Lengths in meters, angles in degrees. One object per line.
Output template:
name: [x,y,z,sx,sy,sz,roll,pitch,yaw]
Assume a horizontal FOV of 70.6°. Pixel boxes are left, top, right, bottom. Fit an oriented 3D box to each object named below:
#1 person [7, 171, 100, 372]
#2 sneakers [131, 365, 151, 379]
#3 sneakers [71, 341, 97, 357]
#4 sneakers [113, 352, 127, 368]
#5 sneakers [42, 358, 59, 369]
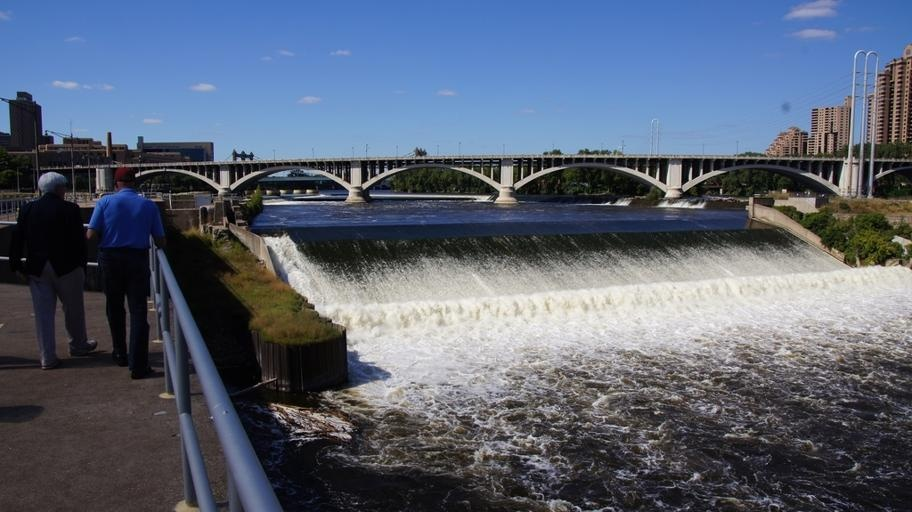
person: [-6.110,0.147,9.705,1.030,2.755,1.542,-5,15,-30]
sneakers: [-4.438,1.651,9.231,0.127,0.114,0.312,12,16,32]
sneakers: [-5.587,1.389,9.814,0.396,0.152,0.148,-19,29,-33]
sneakers: [-4.952,1.513,9.496,0.288,0.193,0.117,7,14,22]
sneakers: [-5.874,1.561,9.372,0.238,0.134,0.153,-5,14,-31]
